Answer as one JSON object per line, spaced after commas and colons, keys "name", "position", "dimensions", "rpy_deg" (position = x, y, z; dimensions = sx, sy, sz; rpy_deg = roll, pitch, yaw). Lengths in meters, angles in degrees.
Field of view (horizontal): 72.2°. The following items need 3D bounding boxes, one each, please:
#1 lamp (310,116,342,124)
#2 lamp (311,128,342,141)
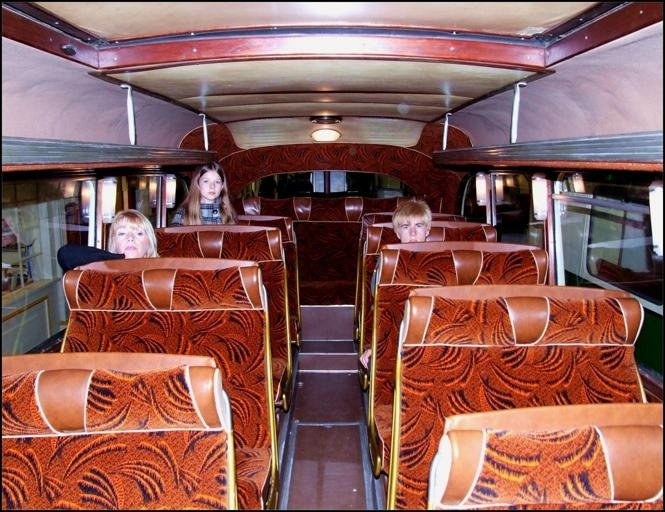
{"name": "lamp", "position": [-0.075, -1.673, 5.624], "dimensions": [0.388, 0.075, 0.329], "rpy_deg": [-1, 12, -3]}
{"name": "lamp", "position": [-0.085, -1.587, 6.012], "dimensions": [0.376, 0.172, 0.214], "rpy_deg": [1, 12, 4]}
